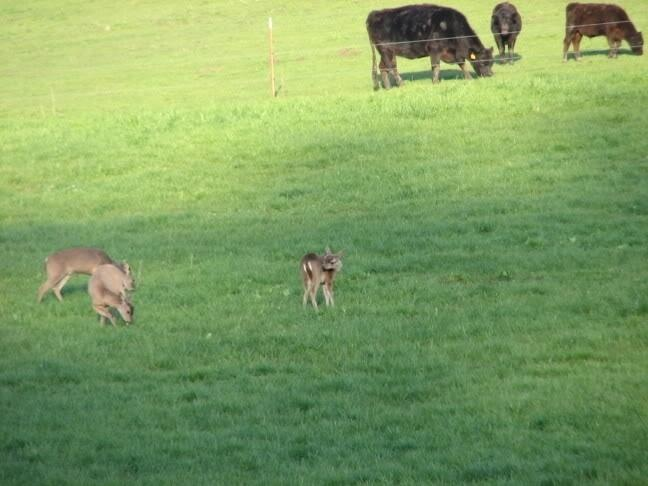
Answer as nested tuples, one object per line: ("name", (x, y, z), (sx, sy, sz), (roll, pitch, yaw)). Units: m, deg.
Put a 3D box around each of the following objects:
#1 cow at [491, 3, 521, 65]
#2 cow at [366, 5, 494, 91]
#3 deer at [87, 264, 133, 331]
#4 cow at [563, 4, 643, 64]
("cow", (10.200, -11.782, 67.522), (1.536, 3.177, 3.847), (0, 14, 9))
("cow", (5.383, -10.387, 63.960), (6.167, 4.304, 2.483), (0, 13, 9))
("deer", (-7.414, 1.856, 42.260), (1.453, 1.927, 1.036), (-5, 13, -10))
("cow", (15.085, -11.568, 65.817), (4.009, 2.826, 2.214), (1, 14, 13))
